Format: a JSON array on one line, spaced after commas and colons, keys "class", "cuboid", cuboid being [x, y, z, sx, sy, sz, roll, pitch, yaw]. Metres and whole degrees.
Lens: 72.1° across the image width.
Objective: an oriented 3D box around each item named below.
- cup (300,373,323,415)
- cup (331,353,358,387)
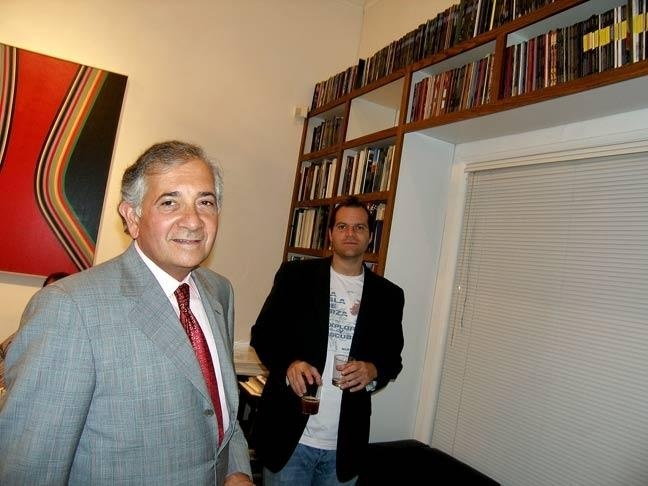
[{"class": "cup", "cuboid": [-0.058, 0.764, 2.165, 0.082, 0.201, 0.117, 5, 3, 14]}, {"class": "cup", "cuboid": [0.093, 0.620, 2.228, 0.142, 0.205, 0.137, 3, -1, 0]}]
